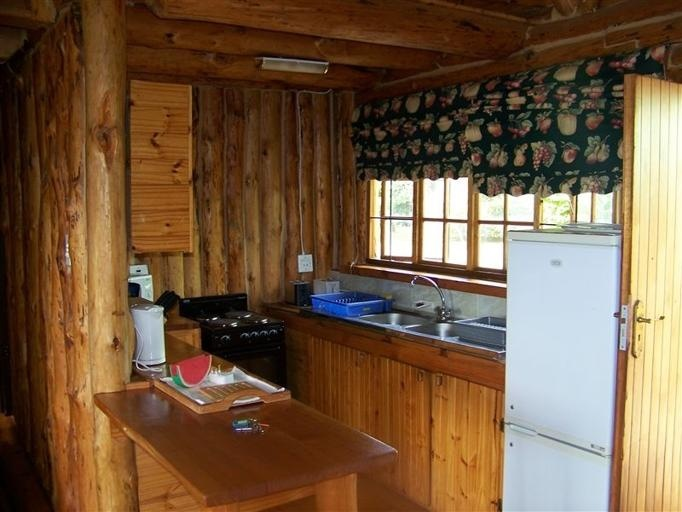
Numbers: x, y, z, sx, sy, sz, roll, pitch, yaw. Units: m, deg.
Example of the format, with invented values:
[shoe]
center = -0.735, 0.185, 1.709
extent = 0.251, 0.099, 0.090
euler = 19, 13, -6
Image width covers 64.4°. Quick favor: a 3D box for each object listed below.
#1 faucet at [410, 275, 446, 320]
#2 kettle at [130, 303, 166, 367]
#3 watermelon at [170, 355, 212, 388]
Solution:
[faucet]
center = 0.729, 0.369, 4.470
extent = 0.332, 0.445, 0.186
euler = 6, -33, 4
[kettle]
center = -1.069, 0.436, 3.009
extent = 0.166, 0.352, 0.174
euler = -4, 11, -19
[watermelon]
center = -0.718, 0.584, 2.737
extent = 0.209, 0.127, 0.174
euler = -15, 6, 22
